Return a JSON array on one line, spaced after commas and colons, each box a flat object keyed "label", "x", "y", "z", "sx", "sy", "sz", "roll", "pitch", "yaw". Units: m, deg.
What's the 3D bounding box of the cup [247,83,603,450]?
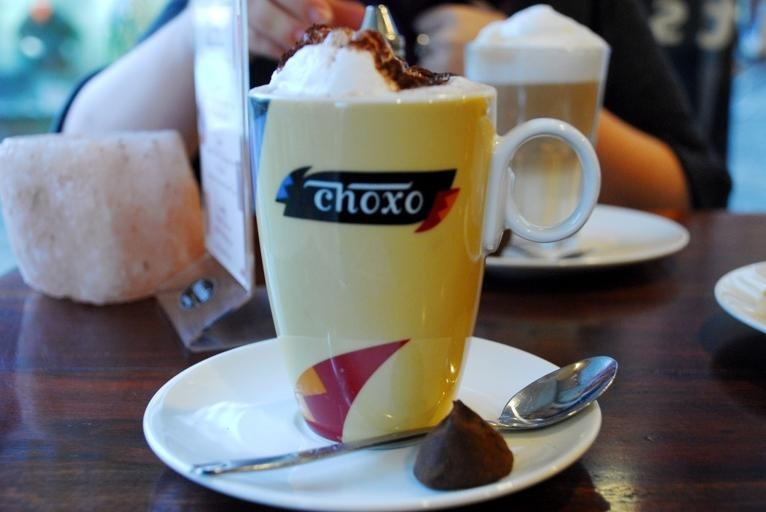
[{"label": "cup", "x": 0.005, "y": 0.000, "z": 0.753, "sx": 0.436, "sy": 0.396, "sz": 0.299, "roll": 0, "pitch": 5, "yaw": 0}]

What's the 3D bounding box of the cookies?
[{"label": "cookies", "x": 0.071, "y": 0.150, "z": 0.573, "sx": 0.090, "sy": 0.061, "sz": 0.088, "roll": -3, "pitch": 0, "yaw": 43}]
